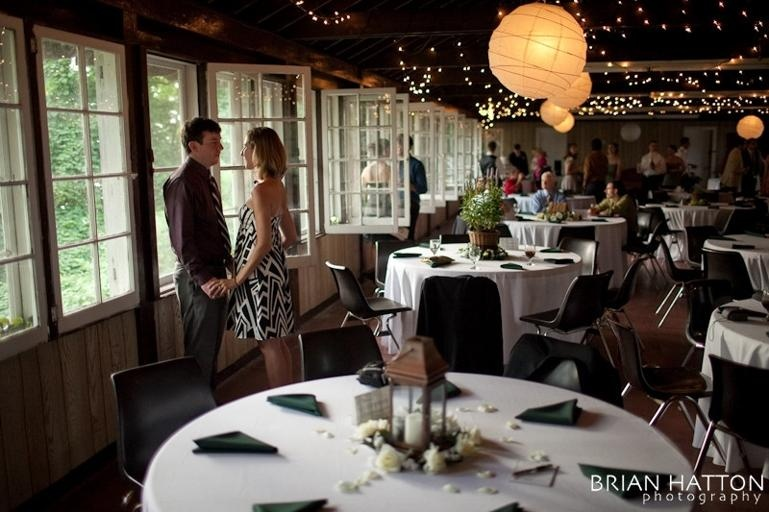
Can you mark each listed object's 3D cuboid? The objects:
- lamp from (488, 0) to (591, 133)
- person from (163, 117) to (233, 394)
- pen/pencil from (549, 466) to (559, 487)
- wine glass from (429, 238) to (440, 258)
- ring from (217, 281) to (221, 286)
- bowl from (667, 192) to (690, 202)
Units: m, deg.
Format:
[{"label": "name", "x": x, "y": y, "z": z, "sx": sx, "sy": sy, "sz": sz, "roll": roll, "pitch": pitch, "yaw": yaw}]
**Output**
[{"label": "lamp", "x": 1.248, "y": -1.426, "z": 4.345, "sx": 0.735, "sy": 0.833, "sz": 0.732, "roll": 1, "pitch": -5, "yaw": -3}, {"label": "person", "x": -1.305, "y": 0.048, "z": 4.033, "sx": 0.422, "sy": 1.987, "sz": 0.451, "roll": -5, "pitch": 15, "yaw": -21}, {"label": "pen/pencil", "x": 0.687, "y": 0.881, "z": 2.285, "sx": 0.027, "sy": 0.014, "sz": 0.136, "roll": 9, "pitch": 17, "yaw": 27}, {"label": "wine glass", "x": 0.500, "y": -0.072, "z": 5.676, "sx": 0.148, "sy": 0.238, "sz": 0.146, "roll": -1, "pitch": 7, "yaw": 1}, {"label": "ring", "x": -1.140, "y": 0.190, "z": 3.895, "sx": 0.023, "sy": 0.023, "sz": 0.007, "roll": -2, "pitch": -7, "yaw": -3}, {"label": "bowl", "x": 6.299, "y": -1.255, "z": 12.069, "sx": 0.422, "sy": 0.143, "sz": 0.427, "roll": 1, "pitch": 0, "yaw": 0}]
